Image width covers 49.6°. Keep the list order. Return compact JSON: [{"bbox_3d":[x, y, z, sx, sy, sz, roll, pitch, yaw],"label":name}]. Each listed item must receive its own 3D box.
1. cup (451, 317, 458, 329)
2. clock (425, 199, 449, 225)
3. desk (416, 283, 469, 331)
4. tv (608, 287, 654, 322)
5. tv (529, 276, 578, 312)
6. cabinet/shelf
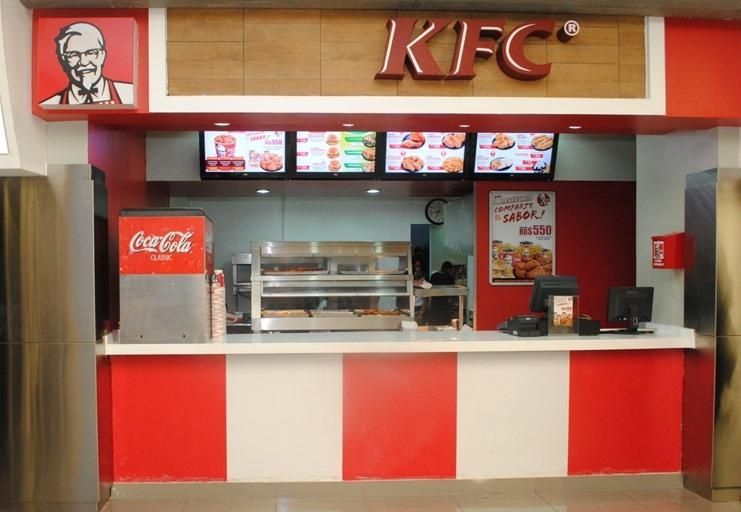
[{"bbox_3d":[0.794,0.652,7.737,0.072,0.085,0.088,4,3,35],"label":"cup"},{"bbox_3d":[0.817,-0.553,9.875,0.301,0.272,0.050,20,3,-11],"label":"clock"},{"bbox_3d":[0.734,0.548,8.501,0.519,0.464,1.193,0,1,4],"label":"desk"},{"bbox_3d":[2.318,0.435,7.179,0.331,0.256,0.120,2,2,-2],"label":"tv"},{"bbox_3d":[1.638,0.345,7.145,0.329,0.259,0.156,1,29,1],"label":"tv"},{"bbox_3d":[-0.388,0.270,7.910,1.551,0.809,0.511,0,5,-2],"label":"cabinet/shelf"}]
